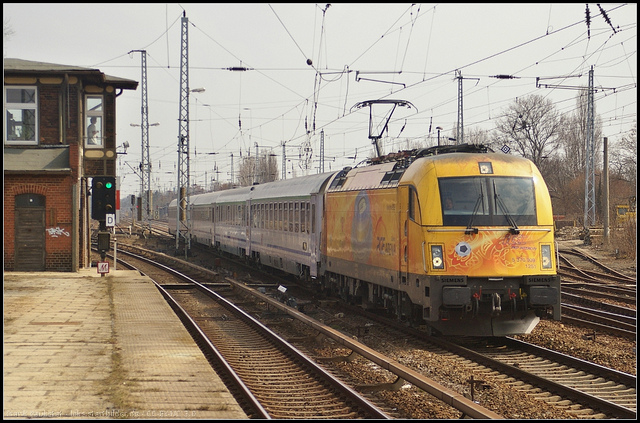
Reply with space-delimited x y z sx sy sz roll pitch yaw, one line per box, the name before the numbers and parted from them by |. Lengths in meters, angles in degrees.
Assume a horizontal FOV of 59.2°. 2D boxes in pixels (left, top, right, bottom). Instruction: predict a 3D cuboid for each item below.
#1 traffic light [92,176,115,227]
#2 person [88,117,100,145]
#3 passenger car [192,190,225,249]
traffic light | -9.127 -0.455 23.774 0.945 2.203 0.700 -3 1 -28
person | -11.952 -4.280 29.682 0.545 1.528 0.239 -3 1 -24
passenger car | -8.819 0.496 43.143 3.359 4.785 8.446 1 -1 -11
